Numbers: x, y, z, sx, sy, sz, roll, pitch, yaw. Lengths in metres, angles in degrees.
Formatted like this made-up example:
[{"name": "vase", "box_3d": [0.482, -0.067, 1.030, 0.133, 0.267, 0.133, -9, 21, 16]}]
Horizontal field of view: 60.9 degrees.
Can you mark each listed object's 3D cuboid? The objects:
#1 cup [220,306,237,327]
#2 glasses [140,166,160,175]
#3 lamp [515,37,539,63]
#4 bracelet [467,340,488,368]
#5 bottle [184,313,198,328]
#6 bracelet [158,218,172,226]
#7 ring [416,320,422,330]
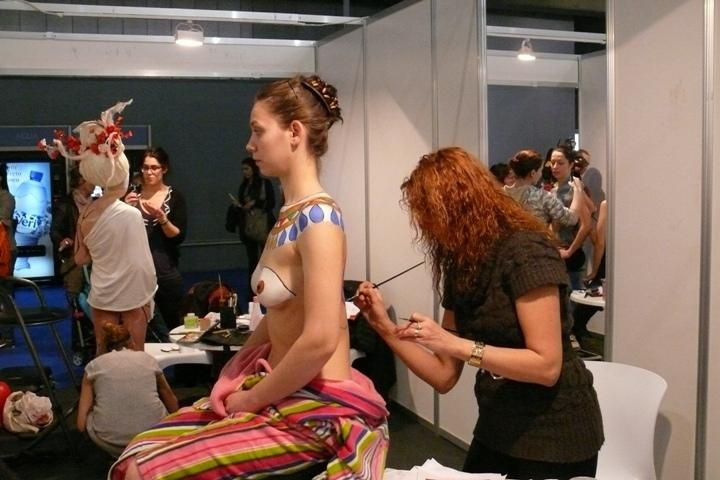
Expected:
[{"name": "cup", "box_3d": [-1.009, 0.595, 4.717, 0.132, 0.150, 0.136, 1, -8, 0]}, {"name": "glasses", "box_3d": [-1.910, -0.634, 5.568, 0.109, 0.044, 0.143, -1, -10, -4]}, {"name": "lamp", "box_3d": [1.065, -1.211, 3.903, 0.137, 0.145, 0.135, -5, 18, -33]}, {"name": "bracelet", "box_3d": [0.480, 0.456, 2.494, 0.063, 0.101, 0.100, 15, -33, 20]}, {"name": "bottle", "box_3d": [-1.326, 0.641, 4.841, 0.102, 0.103, 0.105, -4, -4, 24]}, {"name": "bracelet", "box_3d": [-1.780, -0.157, 5.498, 0.062, 0.047, 0.063, 0, -3, 44]}, {"name": "ring", "box_3d": [0.237, 0.352, 2.512, 0.023, 0.030, 0.010, -7, -17, 4]}]
